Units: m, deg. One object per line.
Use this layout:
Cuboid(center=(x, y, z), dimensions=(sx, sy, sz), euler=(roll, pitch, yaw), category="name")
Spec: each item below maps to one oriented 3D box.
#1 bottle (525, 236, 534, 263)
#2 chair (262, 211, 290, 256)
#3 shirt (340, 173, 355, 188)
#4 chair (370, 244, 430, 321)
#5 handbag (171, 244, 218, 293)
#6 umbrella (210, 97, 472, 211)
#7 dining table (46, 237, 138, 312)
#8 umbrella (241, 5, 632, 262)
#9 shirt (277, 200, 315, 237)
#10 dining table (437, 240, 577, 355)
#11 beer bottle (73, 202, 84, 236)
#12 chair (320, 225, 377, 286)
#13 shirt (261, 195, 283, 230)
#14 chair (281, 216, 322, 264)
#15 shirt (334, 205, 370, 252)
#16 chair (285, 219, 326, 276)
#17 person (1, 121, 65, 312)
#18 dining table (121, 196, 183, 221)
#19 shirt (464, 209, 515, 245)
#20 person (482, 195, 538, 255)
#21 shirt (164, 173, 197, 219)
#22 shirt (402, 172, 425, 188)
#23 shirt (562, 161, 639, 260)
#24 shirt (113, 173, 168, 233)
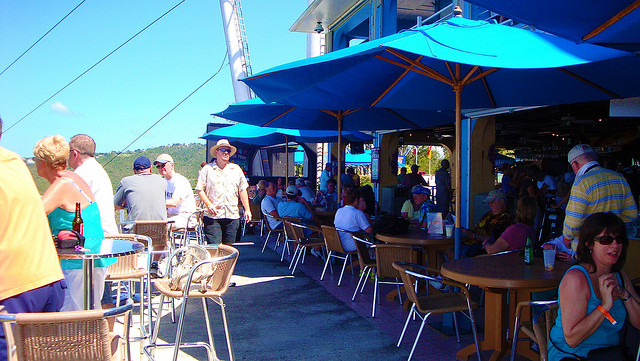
Cuboid(center=(2.803, 0.913, 6.494), dimensions=(0.111, 0.337, 0.250), euler=(4, 10, 23), category="bottle")
Cuboid(center=(-1.141, 1.311, 12.111), dimensions=(0.849, 1.201, 1.013), euler=(-1, -1, 4), category="chair")
Cuboid(center=(0.819, -0.030, 14.735), dimensions=(0.345, 0.423, 0.373), euler=(3, -6, -33), category="shirt")
Cuboid(center=(1.300, 1.622, 8.031), dimensions=(0.984, 1.184, 0.941), euler=(-1, -2, 4), category="chair")
Cuboid(center=(-1.572, 1.109, 6.042), dimensions=(0.472, 0.580, 0.255), euler=(13, -13, 44), category="handbag")
Cuboid(center=(0.523, -0.829, 10.268), dimensions=(4.311, 1.960, 4.105), euler=(1, 0, 39), category="umbrella")
Cuboid(center=(-2.671, 1.055, 5.579), dimensions=(0.808, 0.893, 0.873), euler=(-18, -10, 30), category="dining table")
Cuboid(center=(1.868, -1.114, 7.670), dimensions=(4.615, 3.136, 4.644), euler=(3, 1, 16), category="umbrella")
Cuboid(center=(-0.555, 0.796, 11.019), dimensions=(0.890, 0.902, 0.515), euler=(2, 25, 32), category="shirt")
Cuboid(center=(2.516, 1.709, 6.452), dimensions=(1.710, 1.092, 1.630), euler=(-4, 6, -19), category="dining table")
Cuboid(center=(-2.819, 0.438, 5.683), dimensions=(0.067, 0.395, 0.124), euler=(6, 11, 33), category="beer bottle")
Cuboid(center=(0.350, 1.406, 9.666), dimensions=(1.117, 1.336, 1.112), euler=(-4, 3, -27), category="chair")
Cuboid(center=(-1.150, 0.746, 11.708), dimensions=(0.537, 0.855, 0.898), euler=(-9, 4, -8), category="shirt")
Cuboid(center=(-0.265, 1.323, 10.482), dimensions=(0.945, 1.066, 0.861), euler=(-1, 23, -14), category="chair")
Cuboid(center=(0.585, 0.861, 9.241), dimensions=(0.838, 0.742, 0.452), euler=(1, 6, 42), category="shirt")
Cuboid(center=(-0.346, 1.392, 10.152), dimensions=(1.049, 1.342, 1.012), euler=(-3, 2, -9), category="chair")
Cuboid(center=(-2.848, 0.502, 4.761), dimensions=(0.515, 1.657, 0.294), euler=(-4, 10, -21), category="person")
Cuboid(center=(-3.094, 0.678, 8.880), dimensions=(0.580, 0.672, 0.764), euler=(4, 4, 24), category="dining table")
Cuboid(center=(3.185, 0.764, 9.017), dimensions=(1.154, 0.407, 0.852), euler=(-14, 8, 19), category="shirt")
Cuboid(center=(3.037, 0.734, 7.797), dimensions=(0.605, 1.026, 0.765), euler=(18, -4, 40), category="person")
Cuboid(center=(-2.664, 0.312, 9.179), dimensions=(0.541, 0.886, 0.834), euler=(4, -12, -43), category="shirt")
Cuboid(center=(3.094, -0.122, 16.125), dimensions=(0.771, 0.710, 0.431), euler=(2, 8, 4), category="shirt")
Cuboid(center=(3.830, 0.414, 6.694), dimensions=(0.947, 1.158, 0.332), euler=(-3, 10, -20), category="shirt")
Cuboid(center=(-2.946, 0.370, 8.341), dimensions=(0.932, 0.996, 0.987), euler=(-1, 3, 34), category="shirt")
